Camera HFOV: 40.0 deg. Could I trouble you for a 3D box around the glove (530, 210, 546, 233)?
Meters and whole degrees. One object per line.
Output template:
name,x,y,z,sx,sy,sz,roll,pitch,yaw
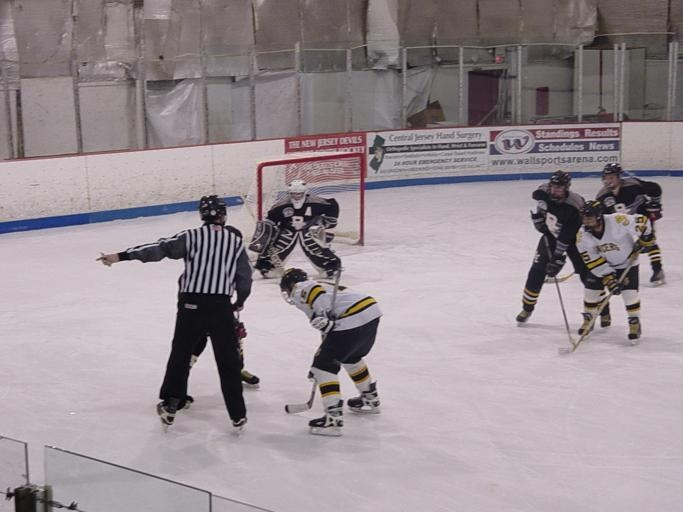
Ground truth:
glove,2.332,-0.388,10.910,0.189,0.274,0.225,-9,10,-2

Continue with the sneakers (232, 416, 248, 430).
sneakers,-0.924,1.502,8.460,0.160,0.113,0.147,0,-1,-3

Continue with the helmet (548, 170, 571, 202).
helmet,2.474,-0.801,10.664,0.240,0.313,0.295,0,9,11

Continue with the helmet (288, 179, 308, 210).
helmet,-0.594,-0.828,12.690,0.242,0.385,0.357,-3,9,-3

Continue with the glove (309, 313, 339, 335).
glove,-0.167,0.614,8.402,0.166,0.219,0.227,-9,12,-38

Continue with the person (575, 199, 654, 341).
person,2.977,0.158,10.218,0.810,1.528,0.521,-1,11,7

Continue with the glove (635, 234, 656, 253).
glove,3.386,-0.155,10.466,0.230,0.153,0.357,12,24,32

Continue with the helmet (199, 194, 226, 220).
helmet,-1.197,-0.447,8.495,0.312,0.210,0.213,-9,24,-12

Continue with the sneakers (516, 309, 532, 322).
sneakers,2.107,0.695,10.855,0.098,0.084,0.245,8,15,30

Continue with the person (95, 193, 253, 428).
person,-1.306,0.517,8.487,0.946,2.116,0.450,-2,11,3

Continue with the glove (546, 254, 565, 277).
glove,2.458,0.112,10.757,0.190,0.250,0.164,25,1,24

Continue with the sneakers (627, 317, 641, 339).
sneakers,3.191,0.786,10.184,0.119,0.179,0.301,-2,24,22

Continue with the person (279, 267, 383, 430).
person,-0.070,0.854,8.577,0.880,1.483,0.481,-3,11,-7

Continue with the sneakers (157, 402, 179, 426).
sneakers,-1.589,1.422,8.504,0.132,0.195,0.325,0,17,-19
